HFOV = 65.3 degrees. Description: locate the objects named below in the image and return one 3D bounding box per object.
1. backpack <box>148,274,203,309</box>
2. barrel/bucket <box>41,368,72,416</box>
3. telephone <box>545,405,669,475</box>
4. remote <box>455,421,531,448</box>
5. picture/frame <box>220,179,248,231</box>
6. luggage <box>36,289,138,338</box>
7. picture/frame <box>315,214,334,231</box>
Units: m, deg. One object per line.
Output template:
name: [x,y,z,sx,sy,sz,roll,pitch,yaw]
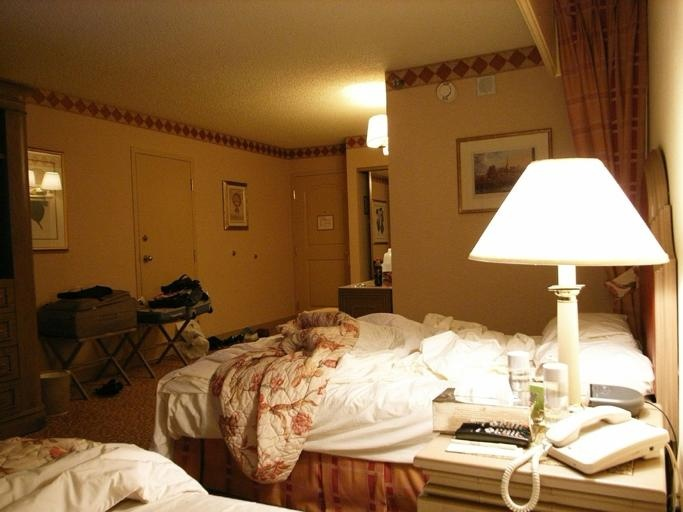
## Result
backpack: [-1.735,0.403,5.618,0.359,0.143,0.370,4,8,39]
barrel/bucket: [-2.401,1.144,4.465,0.294,0.325,0.276,-1,-2,0]
telephone: [0.901,0.568,1.781,0.264,0.115,0.208,-9,2,-18]
remote: [0.561,0.643,1.941,0.182,0.040,0.105,-1,5,16]
picture/frame: [-1.433,-0.684,7.174,0.048,0.622,0.511,1,4,26]
luggage: [-2.287,0.531,4.835,0.842,0.413,0.440,-2,0,-33]
picture/frame: [-0.247,-0.502,7.927,0.229,0.216,0.019,1,5,27]
